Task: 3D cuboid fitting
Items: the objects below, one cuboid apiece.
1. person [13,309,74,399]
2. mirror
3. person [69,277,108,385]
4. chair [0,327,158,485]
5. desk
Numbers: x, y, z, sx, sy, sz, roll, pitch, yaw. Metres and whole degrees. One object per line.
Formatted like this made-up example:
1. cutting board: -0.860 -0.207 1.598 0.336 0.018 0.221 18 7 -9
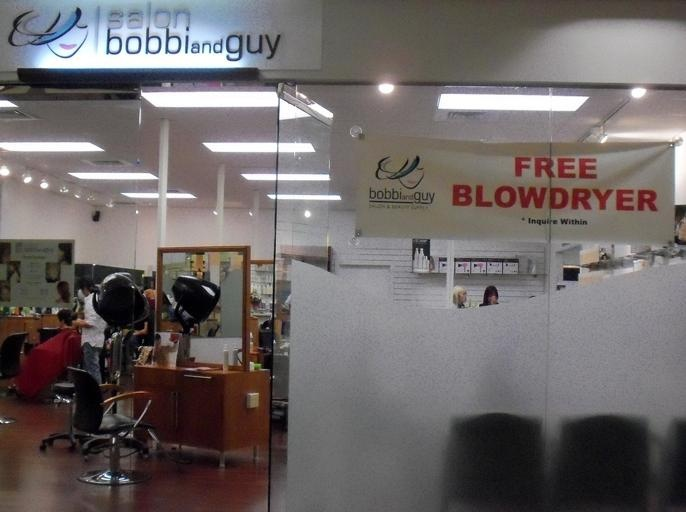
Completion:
1. person: -2.460 0.797 6.155 0.472 0.783 0.482 3 4 -8
2. mirror: -1.375 0.540 7.284 1.118 1.383 0.067 1 -1 18
3. person: -2.143 0.650 6.201 0.257 0.944 0.485 2 4 -17
4. chair: -2.331 1.358 6.841 1.287 1.847 1.166 3 -6 -36
5. desk: -1.462 1.566 7.460 1.348 0.897 0.664 -4 -4 37
